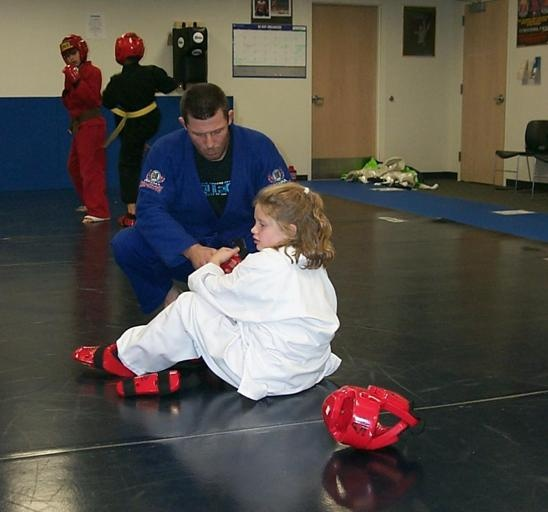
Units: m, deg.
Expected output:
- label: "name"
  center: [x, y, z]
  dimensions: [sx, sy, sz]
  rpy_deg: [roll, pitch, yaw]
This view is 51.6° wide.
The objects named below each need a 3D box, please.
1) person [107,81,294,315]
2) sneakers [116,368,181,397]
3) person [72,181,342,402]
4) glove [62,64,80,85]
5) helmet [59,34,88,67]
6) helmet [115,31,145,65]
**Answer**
- label: "person"
  center: [-0.236, -0.188, 2.166]
  dimensions: [0.733, 0.852, 0.619]
  rpy_deg: [-1, 28, 1]
- label: "sneakers"
  center: [-0.389, 0.375, 1.704]
  dimensions: [0.153, 0.040, 0.083]
  rpy_deg: [-4, 20, -2]
- label: "person"
  center: [-0.176, 0.098, 1.863]
  dimensions: [0.877, 0.597, 0.481]
  rpy_deg: [4, 8, 26]
- label: "glove"
  center: [-1.812, -1.628, 5.110]
  dimensions: [0.185, 0.166, 0.074]
  rpy_deg: [6, 31, 21]
- label: "helmet"
  center: [-1.799, -1.856, 5.080]
  dimensions: [0.214, 0.278, 0.302]
  rpy_deg: [-4, 13, -15]
- label: "helmet"
  center: [-1.308, -1.866, 5.117]
  dimensions: [0.240, 0.248, 0.295]
  rpy_deg: [-12, 17, -26]
